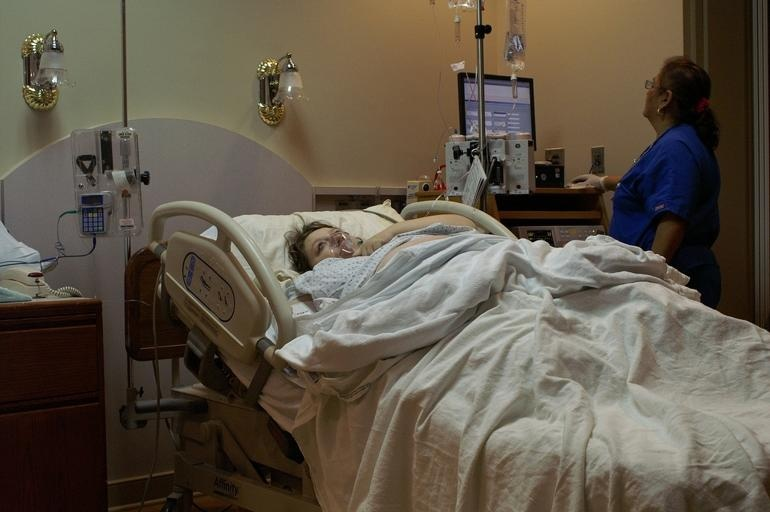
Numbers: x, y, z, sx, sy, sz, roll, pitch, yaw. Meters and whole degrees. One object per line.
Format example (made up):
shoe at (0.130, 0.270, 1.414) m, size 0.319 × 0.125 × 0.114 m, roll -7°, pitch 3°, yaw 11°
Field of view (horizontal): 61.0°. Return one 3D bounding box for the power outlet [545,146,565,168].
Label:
power outlet at (1.016, -0.592, 3.907) m, size 0.103 × 0.119 × 0.198 m, roll -3°, pitch 5°, yaw 11°

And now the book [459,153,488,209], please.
book at (0.435, -0.354, 3.173) m, size 0.046 × 0.219 × 0.215 m, roll 10°, pitch -25°, yaw -6°

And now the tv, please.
tv at (0.631, -0.827, 3.741) m, size 0.554 × 0.484 × 0.076 m, roll 0°, pitch -1°, yaw -16°

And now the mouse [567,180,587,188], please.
mouse at (1.120, -0.422, 3.795) m, size 0.082 × 0.038 × 0.116 m, roll -2°, pitch 3°, yaw 25°

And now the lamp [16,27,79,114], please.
lamp at (-1.595, -0.878, 3.093) m, size 0.166 × 0.369 × 0.168 m, roll 6°, pitch 8°, yaw 31°

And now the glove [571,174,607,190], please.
glove at (1.169, -0.428, 3.725) m, size 0.157 × 0.054 × 0.103 m, roll 5°, pitch 52°, yaw 34°
